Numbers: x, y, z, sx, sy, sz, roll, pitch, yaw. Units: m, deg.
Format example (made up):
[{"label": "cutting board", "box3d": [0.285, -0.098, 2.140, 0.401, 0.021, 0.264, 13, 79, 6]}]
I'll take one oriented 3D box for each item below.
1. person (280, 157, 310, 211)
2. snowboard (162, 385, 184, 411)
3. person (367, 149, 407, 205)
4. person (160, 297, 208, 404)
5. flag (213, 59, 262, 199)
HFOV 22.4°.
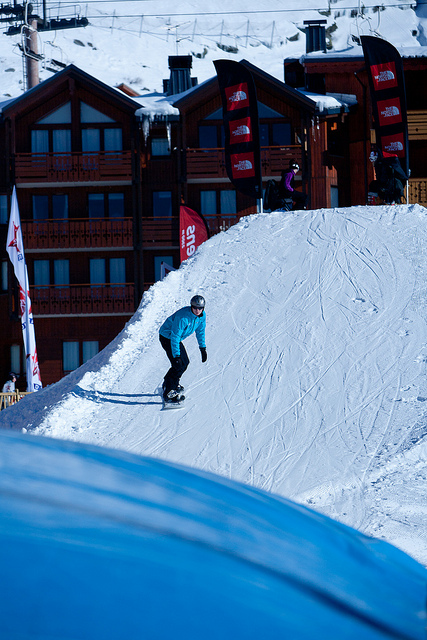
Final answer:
[{"label": "person", "box3d": [1.722, -2.796, 22.493, 0.492, 1.119, 0.499, 5, 28, 13]}, {"label": "snowboard", "box3d": [-0.471, 0.930, 12.874, 0.126, 0.220, 0.435, 0, -14, -10]}, {"label": "person", "box3d": [3.638, -2.938, 22.342, 0.676, 0.894, 1.338, 14, 6, 26]}, {"label": "person", "box3d": [-0.348, 0.434, 13.347, 0.517, 1.282, 0.401, 32, 48, 21]}, {"label": "flag", "box3d": [0.577, -3.874, 21.818, 1.123, 1.944, 0.783, 15, 8, 41]}]
